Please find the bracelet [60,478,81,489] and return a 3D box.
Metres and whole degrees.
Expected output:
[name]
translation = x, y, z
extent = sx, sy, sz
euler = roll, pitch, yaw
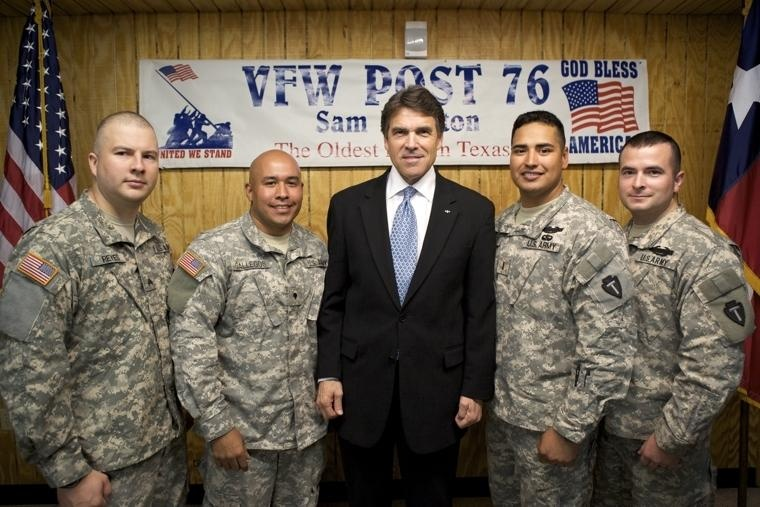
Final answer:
[bracelet]
translation = -1.594, 1.178, 3.242
extent = 0.067, 0.016, 0.067
euler = 0, 0, 3
